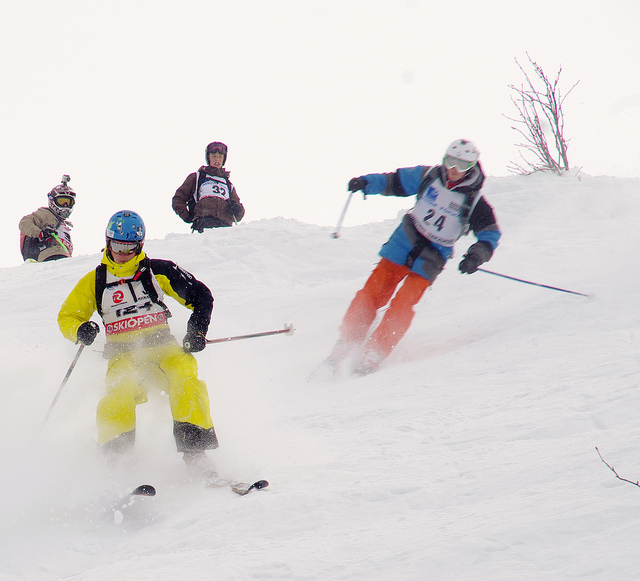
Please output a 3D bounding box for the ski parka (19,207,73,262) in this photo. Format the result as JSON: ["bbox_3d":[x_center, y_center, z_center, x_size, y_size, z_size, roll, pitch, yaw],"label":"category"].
[{"bbox_3d":[-4.198,-0.841,11.910,0.391,0.604,1.234,-28,6,-4],"label":"ski parka"}]

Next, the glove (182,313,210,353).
[{"bbox_3d":[-0.903,0.298,5.670,0.136,0.285,0.171,15,36,20],"label":"glove"}]

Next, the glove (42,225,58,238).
[{"bbox_3d":[-4.288,-0.947,12.363,0.245,0.104,0.298,0,-3,-13],"label":"glove"}]

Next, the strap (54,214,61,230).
[{"bbox_3d":[-4.173,-1.072,12.451,0.061,0.160,0.076,-2,-11,32],"label":"strap"}]

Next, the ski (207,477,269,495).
[{"bbox_3d":[-0.519,1.210,4.858,0.415,0.075,0.134,1,9,39],"label":"ski"}]

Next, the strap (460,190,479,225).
[{"bbox_3d":[1.380,-0.776,7.294,0.105,0.320,0.096,18,1,27],"label":"strap"}]

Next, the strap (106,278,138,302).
[{"bbox_3d":[-1.475,-0.007,5.755,0.198,0.160,0.055,1,7,-4],"label":"strap"}]

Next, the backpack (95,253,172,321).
[{"bbox_3d":[-1.389,-0.025,5.783,0.434,0.427,0.339,-16,8,11],"label":"backpack"}]

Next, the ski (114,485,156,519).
[{"bbox_3d":[-1.135,1.293,4.811,0.392,0.108,0.105,-30,-10,21],"label":"ski"}]

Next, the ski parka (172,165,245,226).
[{"bbox_3d":[-1.664,-1.360,11.574,1.015,0.999,0.448,-2,30,-10],"label":"ski parka"}]

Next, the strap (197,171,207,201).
[{"bbox_3d":[-1.734,-1.538,11.454,0.137,0.404,0.084,-5,32,-14],"label":"strap"}]

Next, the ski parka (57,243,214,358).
[{"bbox_3d":[-1.384,0.116,5.826,1.210,0.878,0.561,-6,6,-9],"label":"ski parka"}]

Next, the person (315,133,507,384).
[{"bbox_3d":[0.838,-0.358,7.667,1.559,2.388,0.641,37,5,-7],"label":"person"}]

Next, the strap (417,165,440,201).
[{"bbox_3d":[1.027,-1.028,7.396,0.122,0.291,0.229,35,-8,-10],"label":"strap"}]

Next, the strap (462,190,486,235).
[{"bbox_3d":[1.424,-0.739,7.353,0.115,0.332,0.267,32,17,1],"label":"strap"}]

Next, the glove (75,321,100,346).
[{"bbox_3d":[-1.676,0.307,5.708,0.143,0.185,0.082,37,-12,11],"label":"glove"}]

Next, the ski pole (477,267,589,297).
[{"bbox_3d":[2.357,-0.094,8.524,1.356,0.028,0.065,14,13,18],"label":"ski pole"}]
